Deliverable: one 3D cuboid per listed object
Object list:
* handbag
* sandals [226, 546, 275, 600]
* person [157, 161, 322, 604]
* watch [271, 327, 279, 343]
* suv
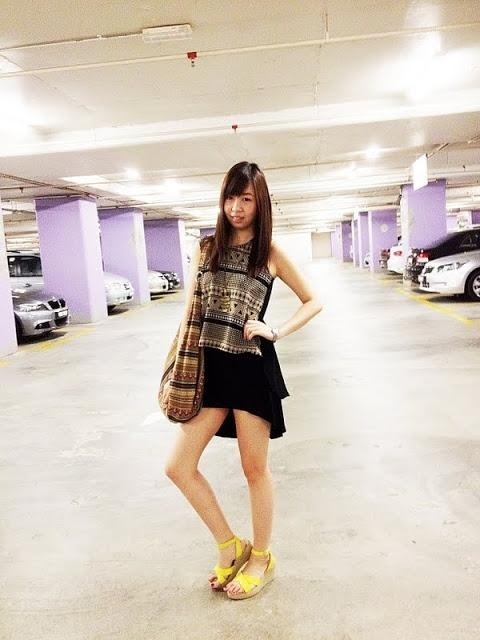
[{"bbox_3d":[-0.202,0.127,1.651,0.176,0.425,0.232,-6,7,-4],"label":"handbag"},{"bbox_3d":[0.047,0.946,1.820,0.100,0.132,0.229,-1,-7,33],"label":"sandals"},{"bbox_3d":[0.013,0.227,1.709,0.582,1.560,0.336,-5,7,3],"label":"person"},{"bbox_3d":[0.123,0.045,1.622,0.030,0.041,0.040,2,-32,-9],"label":"watch"},{"bbox_3d":[-4.212,-1.037,11.990,2.631,0.981,1.106,1,6,0],"label":"suv"}]
